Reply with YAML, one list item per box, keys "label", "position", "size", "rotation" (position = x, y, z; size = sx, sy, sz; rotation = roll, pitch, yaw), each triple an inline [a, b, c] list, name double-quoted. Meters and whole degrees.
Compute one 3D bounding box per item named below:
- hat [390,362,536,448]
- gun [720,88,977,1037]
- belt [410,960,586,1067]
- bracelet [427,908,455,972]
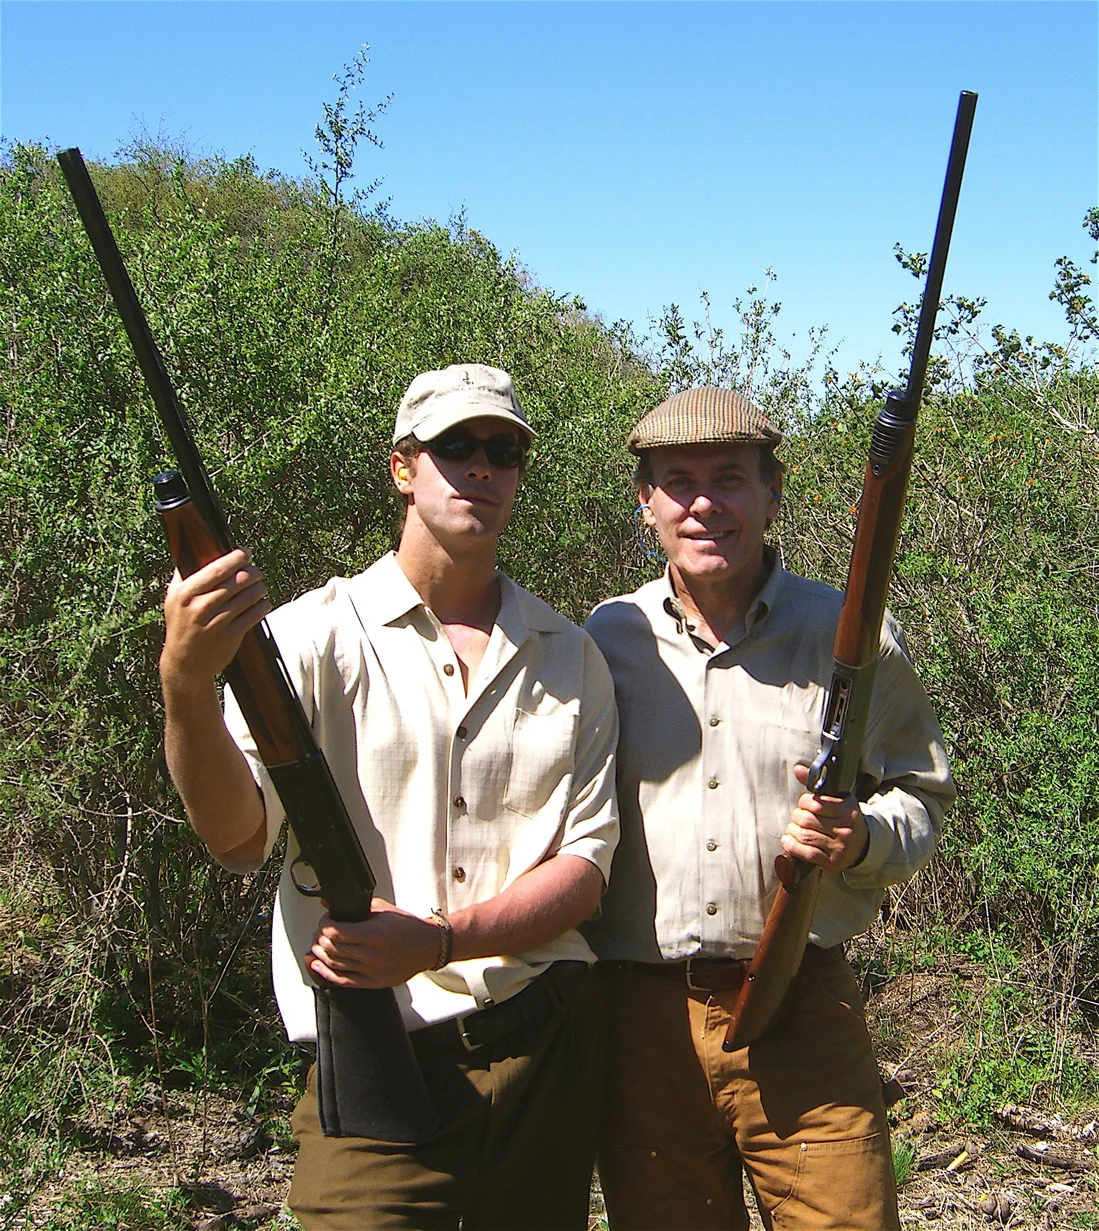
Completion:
- label: "hat"
  position: [-0.219, -0.529, 2.942]
  size: [0.337, 0.236, 0.425]
  rotation: [-7, 7, -30]
- label: "gun"
  position: [0.764, -0.093, 2.852]
  size: [0.365, 2.312, 0.113]
  rotation: [5, -15, 22]
- label: "belt"
  position: [-0.100, 0.889, 2.546]
  size: [0.253, 0.081, 0.192]
  rotation: [-26, -2, 16]
- label: "bracelet"
  position: [-0.218, 0.646, 2.340]
  size: [0.071, 0.099, 0.035]
  rotation: [0, -15, -23]
